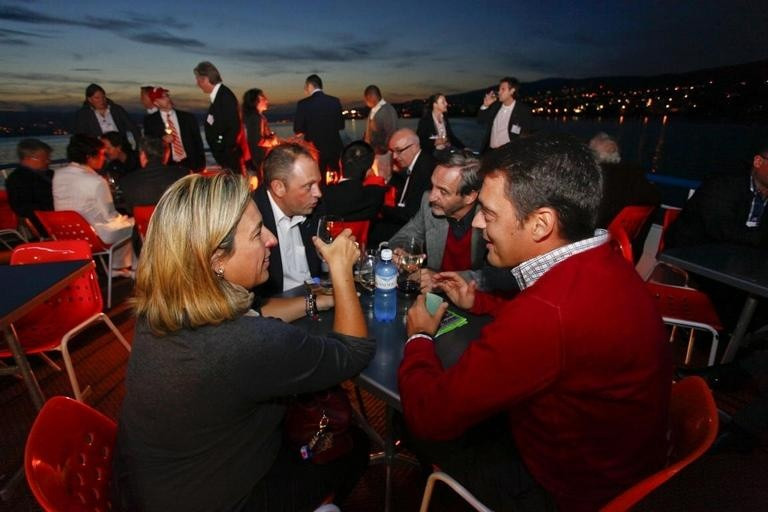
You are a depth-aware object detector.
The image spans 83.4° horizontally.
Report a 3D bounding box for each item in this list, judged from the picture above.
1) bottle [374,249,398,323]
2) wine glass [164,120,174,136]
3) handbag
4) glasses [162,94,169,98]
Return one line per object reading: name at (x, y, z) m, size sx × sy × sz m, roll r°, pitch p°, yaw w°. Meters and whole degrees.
bottle at (0.008, 0.136, 2.276) m, size 0.135 × 0.387 × 0.224 m, roll 1°, pitch 20°, yaw 0°
wine glass at (-2.718, -1.614, 5.439) m, size 0.111 × 0.119 × 0.129 m, roll 1°, pitch 1°, yaw -9°
handbag at (-0.320, 0.778, 2.061) m, size 0.277 × 0.181 × 0.350 m, roll -15°, pitch 33°, yaw -17°
glasses at (-2.680, -1.967, 5.288) m, size 0.010 × 0.036 × 0.038 m, roll -5°, pitch 19°, yaw 35°
